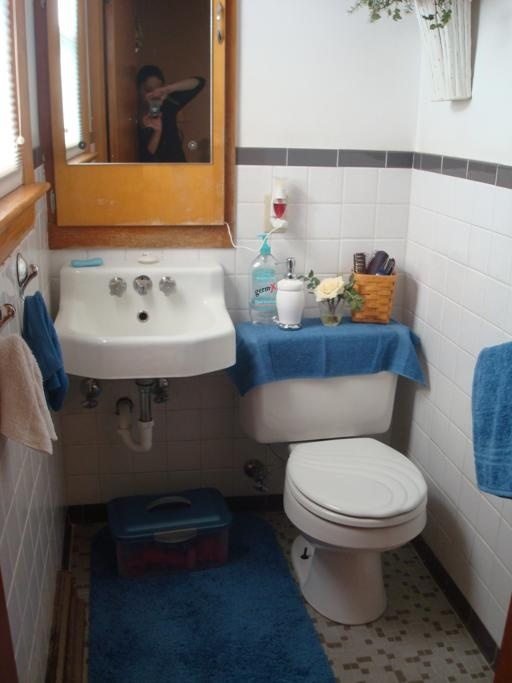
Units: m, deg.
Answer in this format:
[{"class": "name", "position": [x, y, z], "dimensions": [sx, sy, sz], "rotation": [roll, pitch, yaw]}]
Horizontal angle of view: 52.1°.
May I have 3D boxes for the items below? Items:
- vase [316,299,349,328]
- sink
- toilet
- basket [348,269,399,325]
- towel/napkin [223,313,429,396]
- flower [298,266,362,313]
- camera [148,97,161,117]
[{"class": "vase", "position": [0.252, -0.106, 1.733], "dimensions": [0.085, 0.101, 0.092], "rotation": [3, 19, 8]}, {"class": "sink", "position": [-0.335, -0.019, 1.525], "dimensions": [0.513, 0.396, 0.549], "rotation": [0, 12, -7]}, {"class": "toilet", "position": [0.250, 0.396, 1.609], "dimensions": [0.599, 0.799, 0.737], "rotation": [-3, 14, -9]}, {"class": "basket", "position": [0.374, -0.139, 1.687], "dimensions": [0.127, 0.163, 0.164], "rotation": [1, 13, 3]}, {"class": "towel/napkin", "position": [0.220, 0.040, 1.598], "dimensions": [0.429, 0.134, 0.282], "rotation": [-1, 22, -5]}, {"class": "flower", "position": [0.249, -0.190, 1.693], "dimensions": [0.141, 0.061, 0.152], "rotation": [-4, 40, 5]}, {"class": "camera", "position": [-0.311, -0.714, 1.588], "dimensions": [0.035, 0.064, 0.035], "rotation": [3, 47, -6]}]
